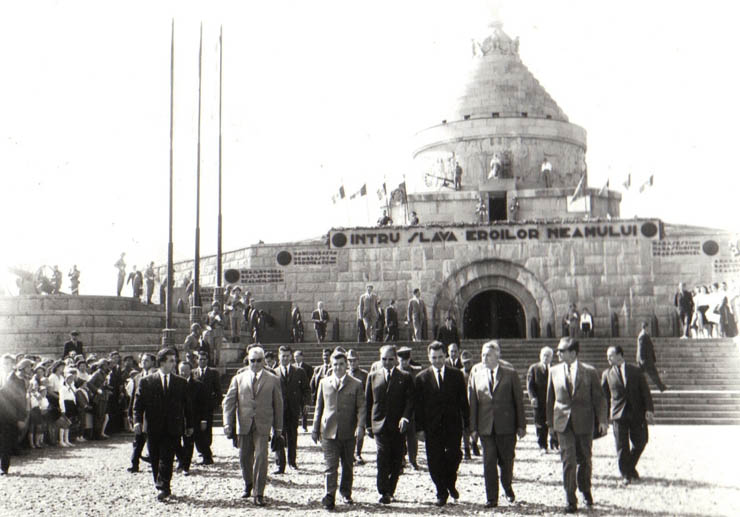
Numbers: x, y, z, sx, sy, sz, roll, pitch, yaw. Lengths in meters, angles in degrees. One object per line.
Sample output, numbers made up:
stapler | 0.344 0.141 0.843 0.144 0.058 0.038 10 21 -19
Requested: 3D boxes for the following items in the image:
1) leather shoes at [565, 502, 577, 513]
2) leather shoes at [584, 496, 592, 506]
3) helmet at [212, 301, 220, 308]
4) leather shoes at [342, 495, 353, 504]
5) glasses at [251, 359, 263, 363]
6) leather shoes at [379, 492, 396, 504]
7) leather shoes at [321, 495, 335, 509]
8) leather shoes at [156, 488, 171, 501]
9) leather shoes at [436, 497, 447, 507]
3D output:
leather shoes | 3.775 4.677 18.366 0.242 0.177 0.177 2 7 14
leather shoes | 4.181 4.648 18.652 0.168 0.136 0.299 2 7 11
helmet | -4.533 1.346 28.564 0.146 0.247 0.219 1 6 -14
leather shoes | -0.439 4.685 18.948 0.185 0.117 0.245 0 7 -5
glasses | -2.257 2.050 19.454 0.227 0.070 0.126 -3 8 -27
leather shoes | 0.316 4.661 18.959 0.130 0.188 0.397 0 -8 10
leather shoes | -0.820 4.619 18.535 0.148 0.350 0.214 -2 1 9
leather shoes | -4.061 4.645 19.135 0.186 0.181 0.227 2 -19 -5
leather shoes | 1.367 4.663 18.776 0.195 0.134 0.305 1 7 5
